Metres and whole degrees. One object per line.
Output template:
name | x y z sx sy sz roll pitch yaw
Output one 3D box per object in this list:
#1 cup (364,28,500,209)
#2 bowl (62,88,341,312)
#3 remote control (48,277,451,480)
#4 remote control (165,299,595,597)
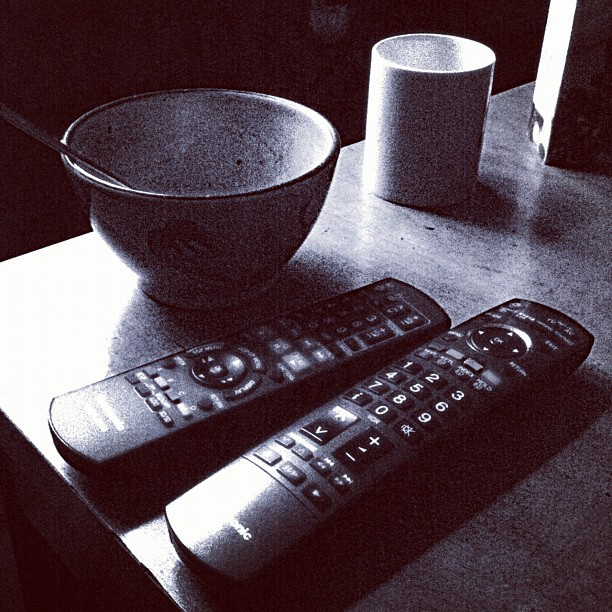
cup | 0.096 -0.129 0.498 0.087 0.090 0.080 0 23 0
bowl | -0.055 -0.055 0.395 0.159 0.096 0.160 -2 11 0
remote control | -0.004 0.046 0.354 0.240 0.031 0.072 -18 43 -26
remote control | 0.058 0.055 0.333 0.267 0.037 0.072 -27 48 -31
